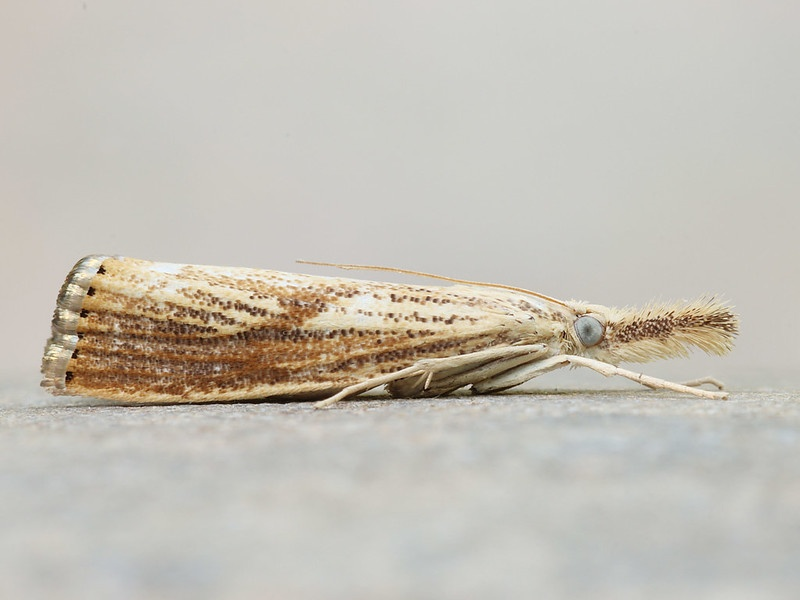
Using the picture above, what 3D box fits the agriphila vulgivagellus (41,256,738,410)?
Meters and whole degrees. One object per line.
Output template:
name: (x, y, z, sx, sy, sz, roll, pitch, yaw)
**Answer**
agriphila vulgivagellus: (-0.062, 0.115, 2.450, 1.662, 0.493, 0.283, -1, -39, -5)
